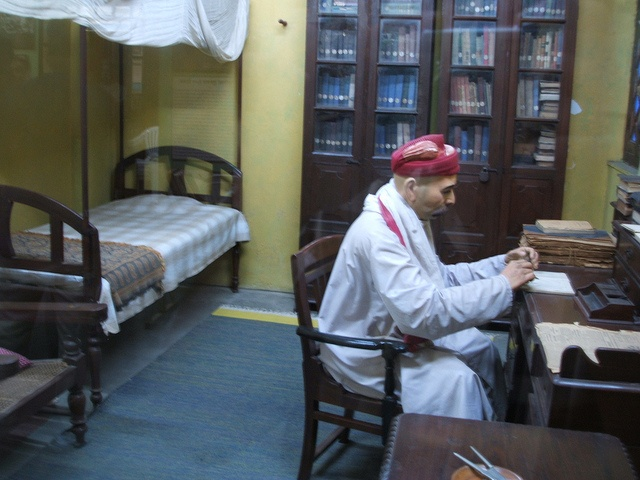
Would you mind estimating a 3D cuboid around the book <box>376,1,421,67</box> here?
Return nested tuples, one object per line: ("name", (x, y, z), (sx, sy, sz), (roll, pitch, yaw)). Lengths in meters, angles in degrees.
("book", (0.641, -1.667, 4.031), (0.323, 0.480, 0.081), (0, 13, 1))

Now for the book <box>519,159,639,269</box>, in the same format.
("book", (1.386, -0.164, 2.735), (0.450, 0.225, 0.635), (3, 15, 15))

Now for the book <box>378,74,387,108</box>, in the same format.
("book", (0.513, -1.222, 4.145), (0.077, 0.257, 0.021), (2, 13, 10))

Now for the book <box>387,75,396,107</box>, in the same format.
("book", (0.594, -1.219, 4.127), (0.082, 0.261, 0.036), (0, 13, 2))

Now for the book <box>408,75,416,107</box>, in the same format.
("book", (0.749, -1.201, 4.092), (0.072, 0.264, 0.034), (1, 13, 7))

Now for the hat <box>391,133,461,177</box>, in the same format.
("hat", (0.470, -0.364, 2.225), (0.199, 0.121, 0.209), (-10, 18, -22))

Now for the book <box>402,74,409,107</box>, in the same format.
("book", (0.692, -1.205, 4.106), (0.057, 0.245, 0.026), (1, 13, 8))
